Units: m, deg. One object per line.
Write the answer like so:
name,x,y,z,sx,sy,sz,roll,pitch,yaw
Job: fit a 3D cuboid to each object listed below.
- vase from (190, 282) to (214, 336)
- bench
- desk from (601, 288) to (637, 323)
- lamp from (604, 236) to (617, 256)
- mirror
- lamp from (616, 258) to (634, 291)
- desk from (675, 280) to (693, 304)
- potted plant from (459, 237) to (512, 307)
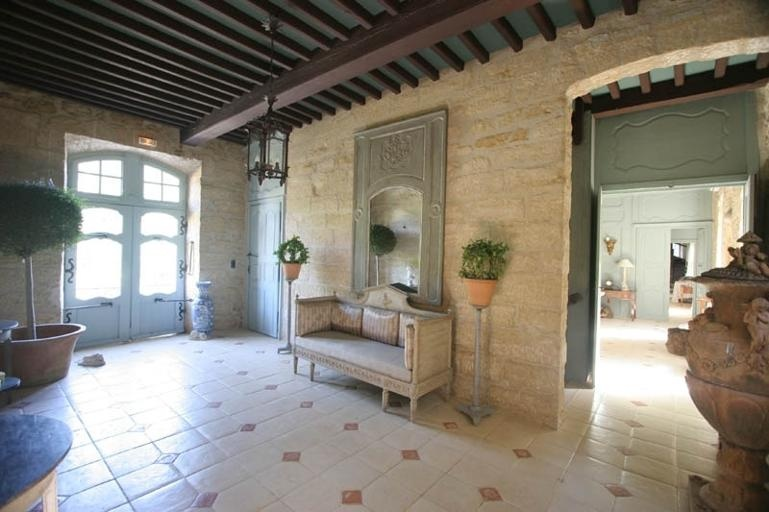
vase,-3.195,0.934,8.352,0.320,0.957,0.253,0,2,-22
bench,-0.145,1.180,6.424,1.959,1.508,0.878,2,2,34
desk,5.283,1.057,10.644,0.341,0.622,0.709,-10,5,-39
lamp,5.098,-0.232,10.752,0.249,0.444,0.149,1,2,23
mirror,0.222,-0.662,6.685,1.386,2.591,0.196,2,2,30
lamp,5.368,0.392,10.602,0.349,0.674,0.265,1,2,23
desk,8.149,0.996,13.007,0.393,0.628,0.738,1,2,29
potted plant,1.212,0.214,5.828,0.537,0.869,0.430,1,2,25
